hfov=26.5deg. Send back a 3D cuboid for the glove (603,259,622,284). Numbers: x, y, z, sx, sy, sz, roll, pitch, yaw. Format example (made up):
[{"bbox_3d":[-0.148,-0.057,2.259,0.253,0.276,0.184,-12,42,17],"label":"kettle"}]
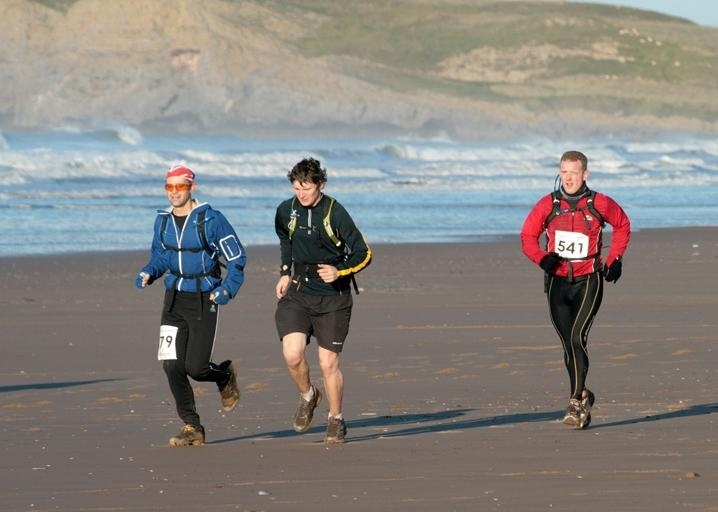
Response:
[{"bbox_3d":[2.888,0.186,17.907,0.207,0.260,0.260,-1,11,4],"label":"glove"}]

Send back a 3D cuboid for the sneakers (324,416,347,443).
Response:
[{"bbox_3d":[-0.300,1.964,17.367,0.243,0.299,0.238,-3,11,-2],"label":"sneakers"}]

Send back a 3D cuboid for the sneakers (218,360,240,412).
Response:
[{"bbox_3d":[-1.496,1.516,17.787,0.258,0.560,0.283,-2,10,18],"label":"sneakers"}]

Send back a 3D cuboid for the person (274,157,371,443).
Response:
[{"bbox_3d":[-0.466,0.499,17.354,1.033,3.185,0.778,-3,11,-4],"label":"person"}]

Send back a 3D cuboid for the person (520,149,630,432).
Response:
[{"bbox_3d":[2.475,0.354,17.985,1.220,3.101,1.063,-1,11,7],"label":"person"}]

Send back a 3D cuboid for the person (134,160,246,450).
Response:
[{"bbox_3d":[-1.898,0.546,17.339,1.157,3.076,0.916,-6,12,-17],"label":"person"}]

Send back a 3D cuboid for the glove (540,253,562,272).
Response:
[{"bbox_3d":[2.175,0.112,17.971,0.212,0.270,0.220,4,13,30],"label":"glove"}]

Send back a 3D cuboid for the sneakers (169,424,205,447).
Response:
[{"bbox_3d":[-1.920,2.038,17.178,0.407,0.191,0.191,2,-1,-1],"label":"sneakers"}]

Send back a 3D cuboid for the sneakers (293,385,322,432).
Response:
[{"bbox_3d":[-0.603,1.802,17.530,0.233,0.577,0.302,17,-8,27],"label":"sneakers"}]

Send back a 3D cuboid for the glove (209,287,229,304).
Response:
[{"bbox_3d":[-1.583,0.473,17.227,0.176,0.220,0.217,-12,15,-41],"label":"glove"}]

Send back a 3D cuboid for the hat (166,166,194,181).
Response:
[{"bbox_3d":[-2.015,-0.895,17.188,0.288,0.180,0.385,-3,10,-5],"label":"hat"}]
